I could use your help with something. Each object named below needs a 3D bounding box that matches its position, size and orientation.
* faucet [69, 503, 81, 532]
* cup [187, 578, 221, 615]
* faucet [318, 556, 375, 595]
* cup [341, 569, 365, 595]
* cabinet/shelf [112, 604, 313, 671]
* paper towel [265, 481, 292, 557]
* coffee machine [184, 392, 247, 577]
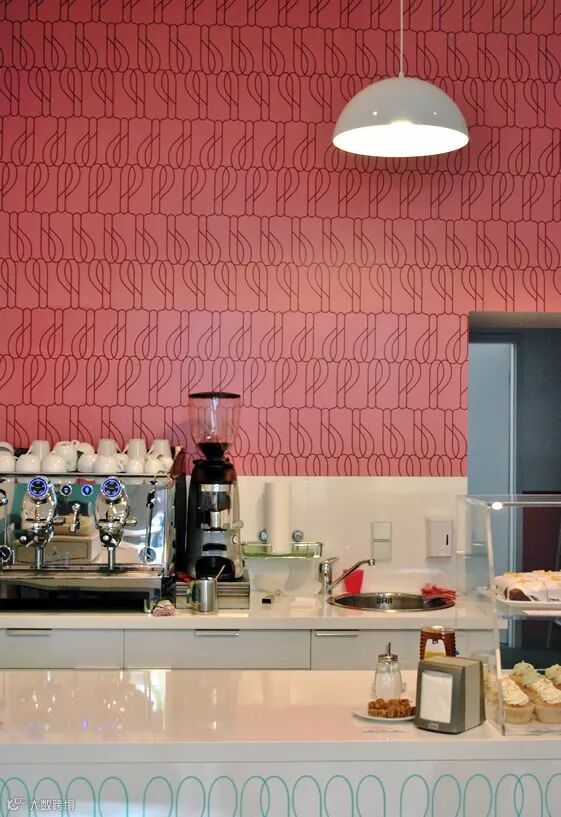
[{"bbox_3d":[-0.736,0.397,2.925,0.037,0.106,0.037,1,-6,-11],"label":"faucet"},{"bbox_3d":[-0.269,0.671,2.887,0.077,0.122,0.126,1,1,43],"label":"cup"},{"bbox_3d":[0.271,0.690,3.323,0.221,0.143,0.196,-1,-6,3],"label":"faucet"},{"bbox_3d":[0.289,0.713,3.338,0.092,0.102,0.096,-1,-3,0],"label":"cup"},{"bbox_3d":[-0.218,0.827,2.857,0.656,0.199,0.076,0,-6,-7],"label":"cabinet/shelf"},{"bbox_3d":[-0.008,0.452,3.311,0.095,0.289,0.058,-1,-6,4],"label":"paper towel"},{"bbox_3d":[-0.261,0.296,3.225,0.216,0.750,0.292,0,-6,-7],"label":"coffee machine"}]
